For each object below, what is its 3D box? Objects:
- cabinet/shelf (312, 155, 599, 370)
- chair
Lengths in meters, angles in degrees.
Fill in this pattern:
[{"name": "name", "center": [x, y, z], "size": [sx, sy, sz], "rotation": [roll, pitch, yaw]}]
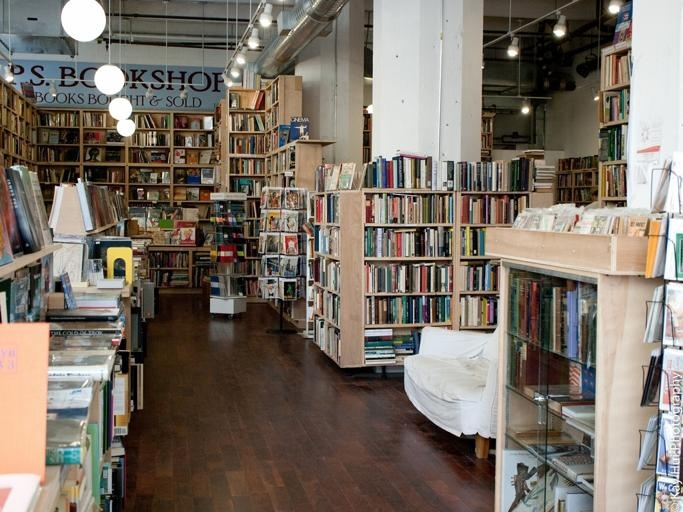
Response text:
[{"name": "cabinet/shelf", "center": [1.155, -0.042, 7.941], "size": [2.935, 3.047, 2.224], "rotation": [0, 1, -15]}, {"name": "chair", "center": [1.004, 1.027, 5.085], "size": [0.762, 0.778, 1.522], "rotation": [3, 3, -6]}]
